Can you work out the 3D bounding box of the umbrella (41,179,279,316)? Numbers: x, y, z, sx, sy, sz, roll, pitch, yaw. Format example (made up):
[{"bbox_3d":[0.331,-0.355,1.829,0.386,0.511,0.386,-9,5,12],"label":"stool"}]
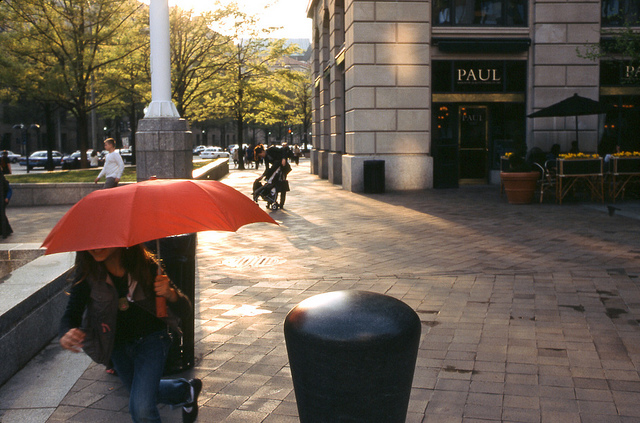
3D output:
[{"bbox_3d":[-1.543,0.030,6.131,1.615,1.002,1.625,-4,2,40],"label":"umbrella"}]

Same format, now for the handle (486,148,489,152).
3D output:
[{"bbox_3d":[6.296,-2.307,23.207,0.097,0.102,0.056,2,9,-4],"label":"handle"}]

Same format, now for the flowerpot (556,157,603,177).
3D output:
[{"bbox_3d":[7.220,-1.234,17.178,1.277,0.497,0.267,-2,7,-10],"label":"flowerpot"}]

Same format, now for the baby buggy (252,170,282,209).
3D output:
[{"bbox_3d":[-1.410,-0.710,18.092,0.870,1.267,0.555,6,-2,24],"label":"baby buggy"}]

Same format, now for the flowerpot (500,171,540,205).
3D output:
[{"bbox_3d":[5.587,-0.687,17.405,0.960,0.734,0.965,0,-4,1],"label":"flowerpot"}]

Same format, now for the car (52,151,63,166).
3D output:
[{"bbox_3d":[-22.103,-4.476,52.396,0.977,0.890,1.683,0,0,-22],"label":"car"}]

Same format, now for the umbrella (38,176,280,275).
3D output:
[{"bbox_3d":[-1.547,0.017,6.048,1.319,0.468,1.364,-5,2,42],"label":"umbrella"}]

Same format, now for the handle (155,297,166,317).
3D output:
[{"bbox_3d":[-1.538,0.919,6.023,0.092,0.184,0.056,-2,7,-8],"label":"handle"}]

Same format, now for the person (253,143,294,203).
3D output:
[{"bbox_3d":[-1.359,-1.104,18.290,1.256,1.817,1.003,6,-16,-28],"label":"person"}]

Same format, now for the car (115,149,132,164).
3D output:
[{"bbox_3d":[-17.210,-4.949,55.227,0.911,1.142,5.045,-3,7,-19],"label":"car"}]

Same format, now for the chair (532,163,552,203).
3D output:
[{"bbox_3d":[6.439,-0.868,17.834,0.503,1.077,0.940,4,8,33],"label":"chair"}]

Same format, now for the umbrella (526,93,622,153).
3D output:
[{"bbox_3d":[8.038,-2.760,19.450,2.535,1.957,2.539,-4,12,15],"label":"umbrella"}]

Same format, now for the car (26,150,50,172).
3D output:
[{"bbox_3d":[-23.025,-4.171,50.777,1.308,1.481,3.212,-4,8,-28],"label":"car"}]

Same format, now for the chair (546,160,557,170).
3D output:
[{"bbox_3d":[6.566,-1.322,17.466,0.156,0.258,0.310,-5,8,-34],"label":"chair"}]
